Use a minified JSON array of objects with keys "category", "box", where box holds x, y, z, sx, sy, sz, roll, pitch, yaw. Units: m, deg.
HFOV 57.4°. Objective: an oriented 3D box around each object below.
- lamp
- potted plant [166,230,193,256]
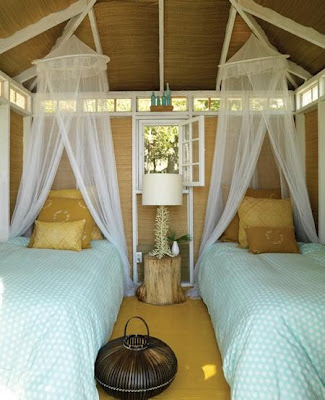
[{"category":"lamp","box":[-0.016,0.160,3.312,0.428,0.929,0.566,0,0,-2]},{"category":"potted plant","box":[0.185,0.494,3.459,0.266,0.295,0.269,0,-6,6]}]
